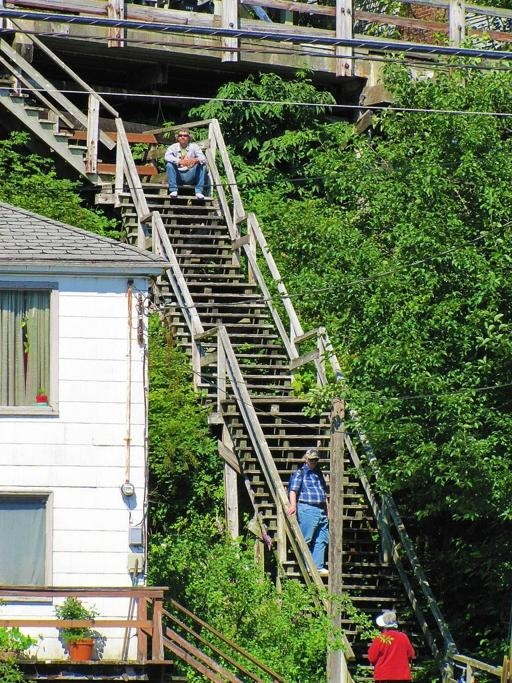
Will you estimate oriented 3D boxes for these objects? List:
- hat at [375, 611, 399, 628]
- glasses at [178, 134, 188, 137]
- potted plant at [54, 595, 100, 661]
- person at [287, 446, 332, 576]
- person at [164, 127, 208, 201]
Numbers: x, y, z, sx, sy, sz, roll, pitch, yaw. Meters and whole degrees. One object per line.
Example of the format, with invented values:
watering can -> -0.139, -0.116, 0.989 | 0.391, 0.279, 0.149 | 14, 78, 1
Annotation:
hat -> 1.558, 3.275, 25.562 | 0.192, 0.129, 0.263 | 2, 3, 24
glasses -> -1.116, -3.151, 33.477 | 0.141, 0.064, 0.060 | 0, -2, -24
potted plant -> -2.138, 3.423, 26.001 | 0.487, 0.763, 0.541 | 0, -2, -6
person -> 0.663, 2.138, 27.751 | 0.417, 1.519, 0.614 | -1, -2, 17
person -> -1.110, -2.748, 33.969 | 0.615, 1.138, 0.781 | -1, -4, -5
